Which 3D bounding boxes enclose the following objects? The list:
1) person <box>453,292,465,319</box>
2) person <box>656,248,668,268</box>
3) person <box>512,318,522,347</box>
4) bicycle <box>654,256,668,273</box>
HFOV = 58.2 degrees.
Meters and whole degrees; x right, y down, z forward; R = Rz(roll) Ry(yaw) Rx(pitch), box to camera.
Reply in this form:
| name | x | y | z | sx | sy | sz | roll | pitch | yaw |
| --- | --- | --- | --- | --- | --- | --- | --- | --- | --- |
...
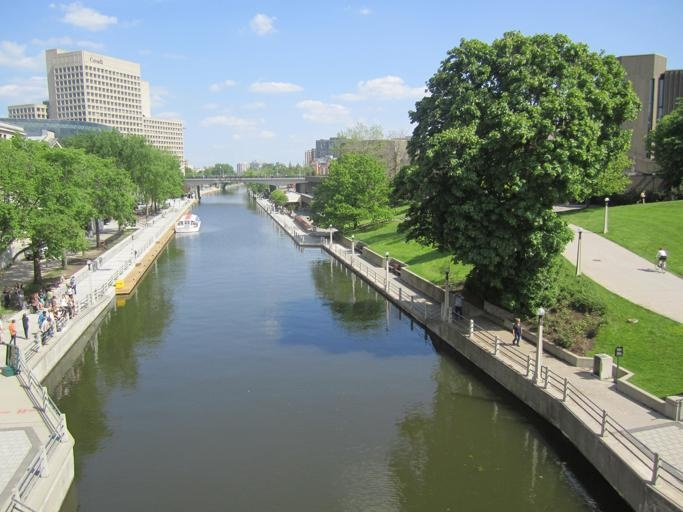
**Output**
| name | x | y | z | sx | sy | sz | roll | pitch | yaw |
| --- | --- | --- | --- | --- | --- | --- | --- | --- | --- |
| person | 8.510 | 3.661 | 44.688 | 0.648 | 1.555 | 2.268 | 2 | 11 | 11 |
| person | 24.304 | 0.122 | 46.224 | 0.858 | 1.190 | 1.841 | -4 | 8 | 14 |
| person | 11.117 | 4.796 | 39.043 | 0.467 | 1.684 | 0.799 | 3 | 11 | 15 |
| bicycle | 24.117 | 0.540 | 46.303 | 0.642 | 0.842 | 1.345 | -1 | 11 | 14 |
